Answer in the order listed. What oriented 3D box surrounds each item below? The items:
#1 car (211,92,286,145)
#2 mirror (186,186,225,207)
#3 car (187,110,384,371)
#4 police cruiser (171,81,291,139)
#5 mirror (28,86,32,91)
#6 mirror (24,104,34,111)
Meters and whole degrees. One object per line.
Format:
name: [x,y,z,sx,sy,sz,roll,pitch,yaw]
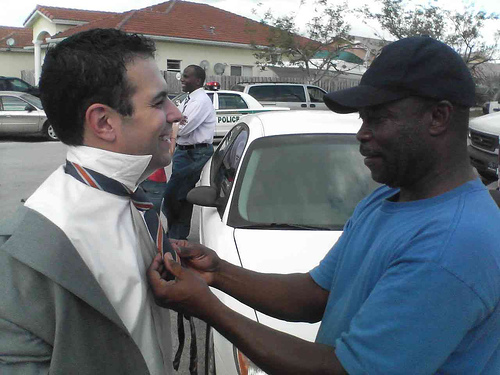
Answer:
car: [-0.246,-2.242,13.060,2.803,1.021,1.326,-9,17,-28]
mirror: [-0.360,0.046,3.368,0.220,0.100,0.184,5,3,19]
car: [0.248,0.056,3.212,1.006,0.899,2.345,-1,12,-8]
police cruiser: [-0.716,-2.335,13.596,4.024,1.743,1.931,-9,17,-24]
mirror: [-9.773,-4.382,18.062,0.147,0.158,0.241,-2,13,-32]
mirror: [-7.510,-2.698,13.846,0.259,0.218,0.065,1,10,-19]
